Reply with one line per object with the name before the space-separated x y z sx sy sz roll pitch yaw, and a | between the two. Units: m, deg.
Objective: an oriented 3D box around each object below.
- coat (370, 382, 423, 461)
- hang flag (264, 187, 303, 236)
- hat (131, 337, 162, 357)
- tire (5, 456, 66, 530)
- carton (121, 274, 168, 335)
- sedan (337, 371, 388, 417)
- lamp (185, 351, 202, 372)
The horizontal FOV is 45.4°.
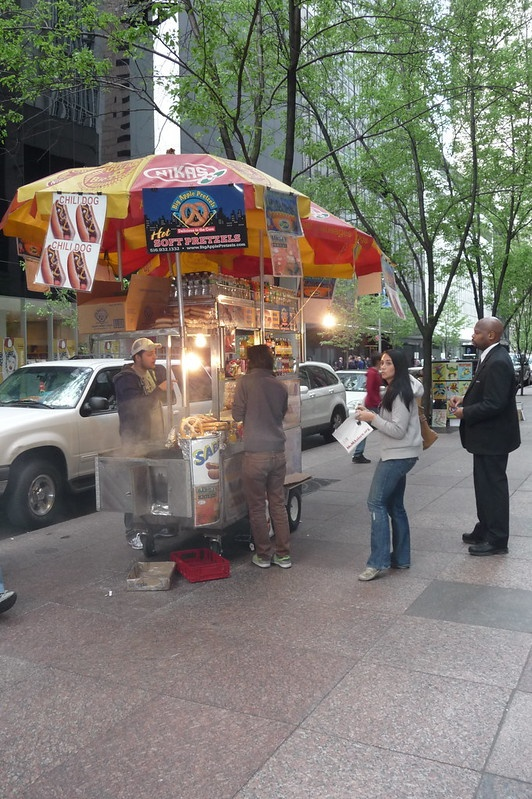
coat | 1.027 0.132 4.963 0.403 0.624 0.499 -3 8 26
hang flag | 0.130 -1.496 5.039 0.037 0.321 0.475 0 9 28
hat | -1.106 -0.499 5.898 0.227 0.138 0.161 -21 8 4
tire | -2.577 1.029 7.037 0.216 0.712 0.637 3 -20 23
carton | -1.170 -0.911 6.182 0.234 0.670 0.678 6 4 28
sedan | 2.176 -0.248 15.784 0.920 0.900 1.651 -1 -3 28
lamp | -0.679 -0.347 5.949 0.159 0.201 0.165 -7 25 -3
